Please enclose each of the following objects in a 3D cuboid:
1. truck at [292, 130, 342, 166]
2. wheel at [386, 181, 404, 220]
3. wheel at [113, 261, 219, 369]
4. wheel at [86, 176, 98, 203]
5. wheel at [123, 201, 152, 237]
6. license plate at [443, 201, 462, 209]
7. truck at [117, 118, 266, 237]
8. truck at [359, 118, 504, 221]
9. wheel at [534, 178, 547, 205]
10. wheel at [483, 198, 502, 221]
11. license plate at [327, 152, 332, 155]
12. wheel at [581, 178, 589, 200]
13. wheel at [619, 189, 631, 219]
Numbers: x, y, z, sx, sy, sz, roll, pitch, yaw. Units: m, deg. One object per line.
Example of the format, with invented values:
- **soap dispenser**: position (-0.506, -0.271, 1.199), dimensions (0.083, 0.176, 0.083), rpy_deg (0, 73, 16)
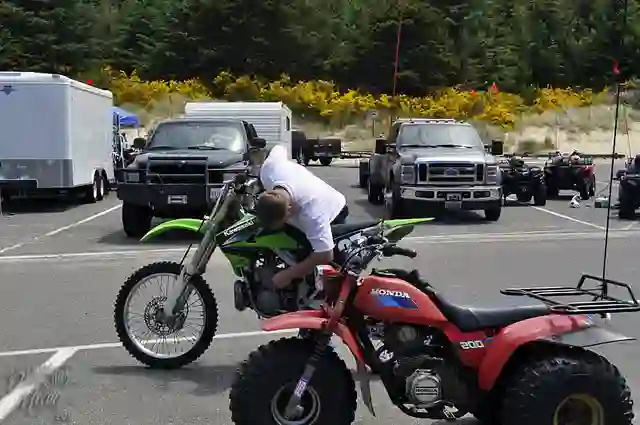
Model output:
- **truck**: position (-0.489, -3.928, 35.964), dimensions (1.627, 1.241, 3.006), rpy_deg (-4, 11, -31)
- **wheel**: position (1.840, -0.327, 14.387), dimensions (0.313, 1.003, 0.938), rpy_deg (0, -1, -2)
- **wheel**: position (-1.893, 1.059, 7.096), dimensions (1.038, 1.141, 1.863), rpy_deg (-2, 6, -19)
- **wheel**: position (-7.153, -0.743, 18.598), dimensions (0.194, 0.632, 0.602), rpy_deg (-2, -27, 7)
- **wheel**: position (-3.923, 0.096, 12.716), dimensions (0.218, 0.721, 0.671), rpy_deg (0, -6, 21)
- **license plate**: position (3.295, -0.199, 14.706), dimensions (0.457, 0.200, 0.129), rpy_deg (1, 5, 11)
- **truck**: position (-2.838, -0.988, 14.131), dimensions (2.198, 1.985, 4.131), rpy_deg (0, 1, 6)
- **truck**: position (3.139, -1.240, 15.976), dimensions (3.261, 2.675, 3.208), rpy_deg (1, 6, 13)
- **wheel**: position (6.645, -0.658, 17.900), dimensions (0.343, 0.796, 0.253), rpy_deg (0, 5, 5)
- **wheel**: position (4.370, -0.119, 15.009), dimensions (0.164, 0.579, 0.542), rpy_deg (0, 2, 4)
- **license plate**: position (0.607, -3.575, 35.482), dimensions (0.264, 0.113, 0.095), rpy_deg (0, 6, -4)
- **wheel**: position (8.586, -0.791, 19.249), dimensions (0.178, 0.678, 0.632), rpy_deg (-1, -3, 19)
- **wheel**: position (7.834, -0.234, 15.250), dimensions (0.247, 0.768, 0.203), rpy_deg (1, 5, 7)
